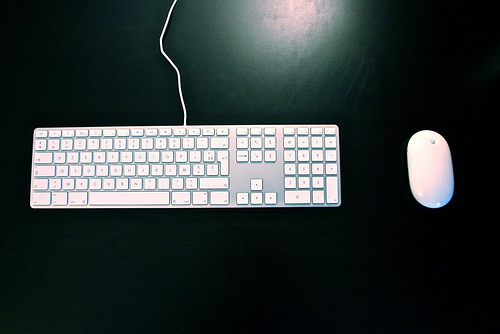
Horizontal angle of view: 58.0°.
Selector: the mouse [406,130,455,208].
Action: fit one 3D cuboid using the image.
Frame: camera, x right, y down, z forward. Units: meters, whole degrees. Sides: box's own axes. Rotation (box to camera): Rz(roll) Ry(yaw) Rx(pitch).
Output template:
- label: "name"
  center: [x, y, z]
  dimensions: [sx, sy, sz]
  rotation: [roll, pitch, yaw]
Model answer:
- label: "mouse"
  center: [0.602, 0.010, 1.508]
  dimensions: [0.148, 0.249, 0.058]
  rotation: [1, -8, 4]
